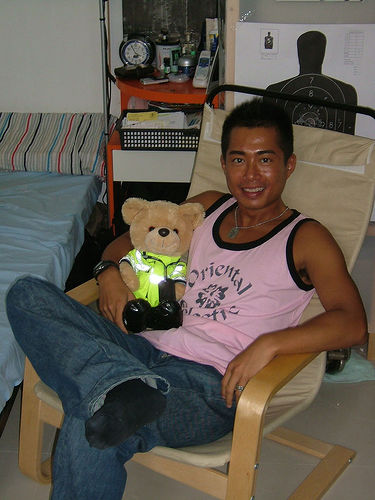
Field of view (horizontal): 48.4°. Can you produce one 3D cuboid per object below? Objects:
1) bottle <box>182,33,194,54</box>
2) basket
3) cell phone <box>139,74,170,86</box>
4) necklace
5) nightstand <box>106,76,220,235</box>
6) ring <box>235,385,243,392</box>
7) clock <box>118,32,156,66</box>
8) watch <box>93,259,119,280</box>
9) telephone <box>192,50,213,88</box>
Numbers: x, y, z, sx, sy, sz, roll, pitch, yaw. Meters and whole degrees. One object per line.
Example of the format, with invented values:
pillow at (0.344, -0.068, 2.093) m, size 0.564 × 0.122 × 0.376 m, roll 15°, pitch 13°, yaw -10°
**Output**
bottle at (0.008, -1.323, 2.661) m, size 0.079 × 0.132 × 0.162 m, roll 2°, pitch 24°, yaw -1°
basket at (-0.136, -0.618, 2.143) m, size 0.427 × 0.120 × 0.262 m, roll 2°, pitch 37°, yaw 1°
cell phone at (-0.187, -0.977, 2.403) m, size 0.135 × 0.029 × 0.072 m, roll -8°, pitch 32°, yaw -18°
necklace at (0.179, -0.070, 1.098) m, size 0.123 × 0.009 × 0.098 m, roll -38°, pitch 37°, yaw -10°
nightstand at (-0.136, -0.485, 2.568) m, size 0.662 × 0.921 × 0.590 m, roll 1°, pitch 14°, yaw -4°
ring at (0.109, 0.279, 0.843) m, size 0.014 × 0.008 × 0.017 m, roll 0°, pitch -7°, yaw 3°
clock at (-0.311, -1.243, 2.572) m, size 0.285 × 0.268 × 0.130 m, roll 1°, pitch 36°, yaw 3°
watch at (-0.225, 0.046, 1.195) m, size 0.052 × 0.035 × 0.065 m, roll -16°, pitch 25°, yaw 48°
telephone at (0.093, -1.039, 2.361) m, size 0.080 × 0.057 × 0.287 m, roll 7°, pitch 62°, yaw 6°
